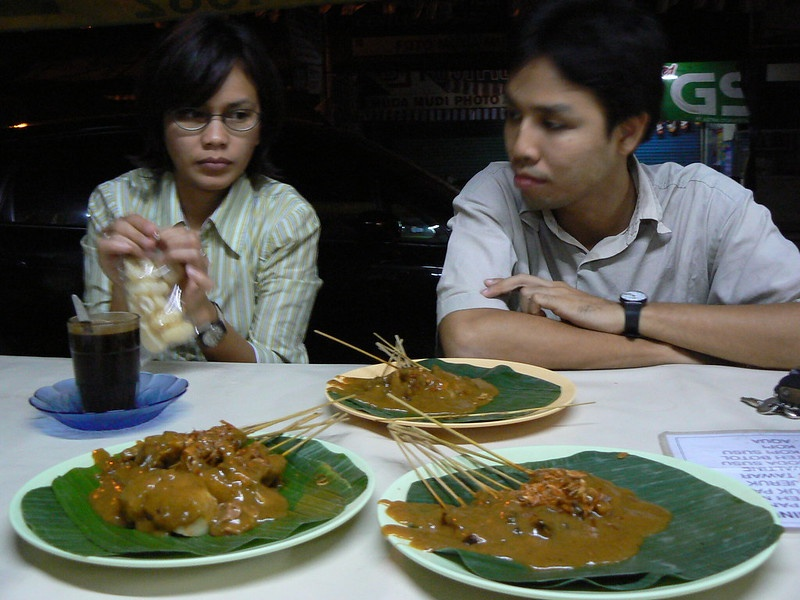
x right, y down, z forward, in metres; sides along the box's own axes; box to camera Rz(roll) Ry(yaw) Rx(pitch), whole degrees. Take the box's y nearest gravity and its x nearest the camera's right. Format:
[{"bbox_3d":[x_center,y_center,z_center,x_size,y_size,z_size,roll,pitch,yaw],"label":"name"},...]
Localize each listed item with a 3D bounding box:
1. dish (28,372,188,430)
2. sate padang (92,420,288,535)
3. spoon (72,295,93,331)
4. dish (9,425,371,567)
[{"bbox_3d":[-0.996,0.359,1.951,0.481,0.075,0.420,2,7,17],"label":"dish"},{"bbox_3d":[-0.487,0.422,1.337,0.346,0.065,0.265,4,10,-14],"label":"sate padang"},{"bbox_3d":[-1.227,0.051,2.209,0.031,0.017,0.196,-40,53,-6],"label":"spoon"},{"bbox_3d":[-0.480,0.465,1.367,0.800,0.068,0.572,-4,8,-19],"label":"dish"}]
